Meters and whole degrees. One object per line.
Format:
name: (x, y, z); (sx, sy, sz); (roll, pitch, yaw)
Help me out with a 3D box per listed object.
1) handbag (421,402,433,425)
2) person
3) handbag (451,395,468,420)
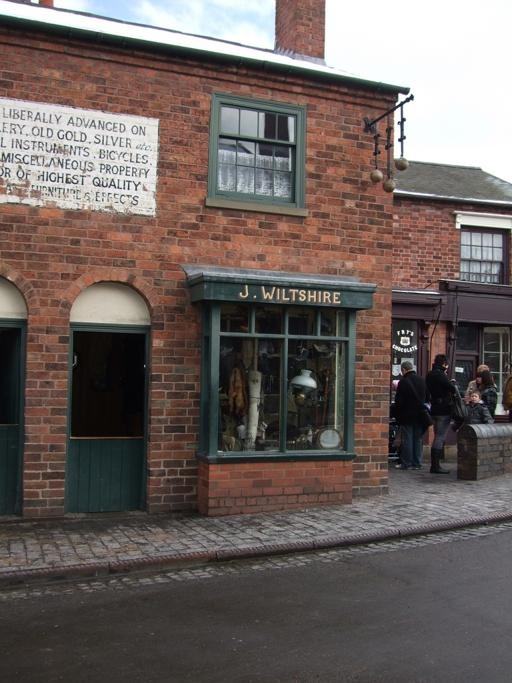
handbag: (2.772, 1.179, 12.896); (0.116, 0.344, 0.353); (-8, -19, 17)
person: (2.748, 1.179, 12.963); (0.969, 1.874, 1.297); (2, -4, -11)
handbag: (3.241, 1.069, 12.700); (0.180, 0.463, 0.376); (-13, -18, 35)
